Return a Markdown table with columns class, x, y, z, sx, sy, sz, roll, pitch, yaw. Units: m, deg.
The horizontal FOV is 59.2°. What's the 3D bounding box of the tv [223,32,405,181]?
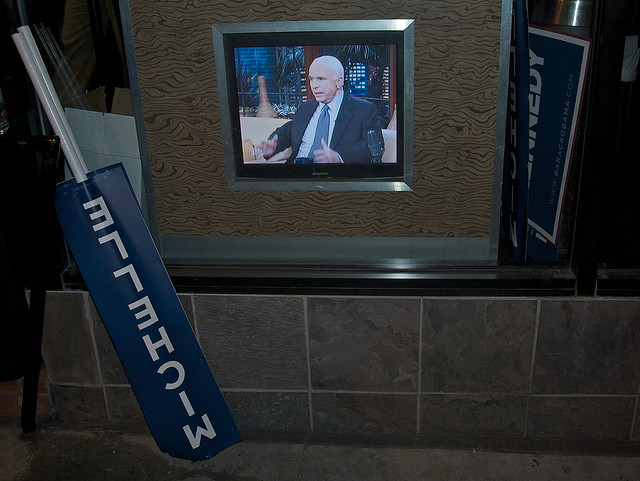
| class | x | y | z | sx | sy | sz | roll | pitch | yaw |
| --- | --- | --- | --- | --- | --- | --- | --- | --- | --- |
| tv | -0.010 | -0.766 | 3.090 | 0.853 | 0.701 | 0.045 | 0 | 25 | 2 |
